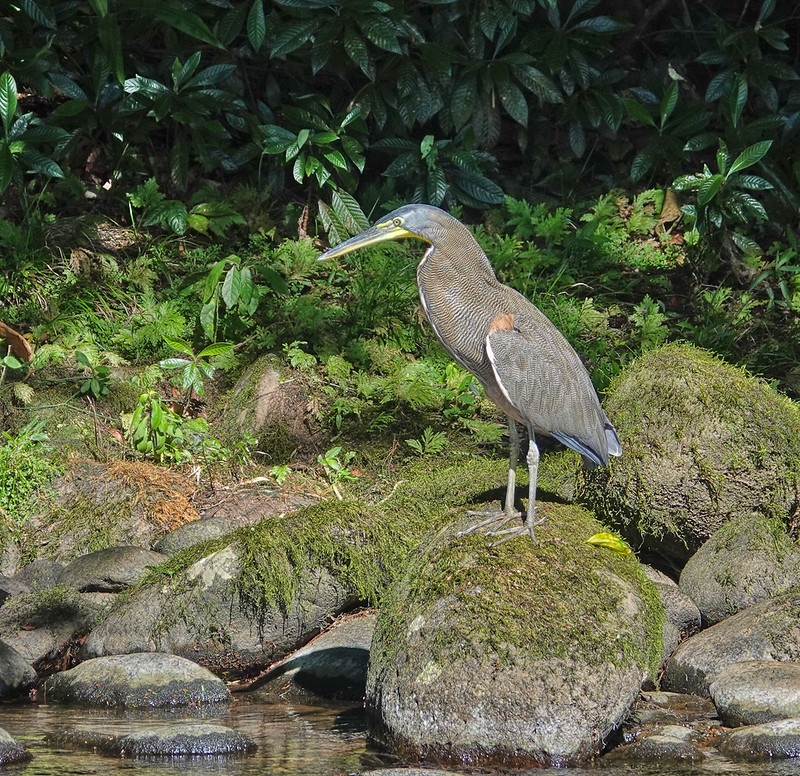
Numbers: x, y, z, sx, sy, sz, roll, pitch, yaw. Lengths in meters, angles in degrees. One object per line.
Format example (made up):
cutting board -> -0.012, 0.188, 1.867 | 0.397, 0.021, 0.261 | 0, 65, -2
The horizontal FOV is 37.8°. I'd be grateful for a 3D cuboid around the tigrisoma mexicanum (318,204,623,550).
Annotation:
tigrisoma mexicanum -> 0.472, -0.080, 5.857 | 1.205, 1.702, 0.461 | -3, -2, -2
